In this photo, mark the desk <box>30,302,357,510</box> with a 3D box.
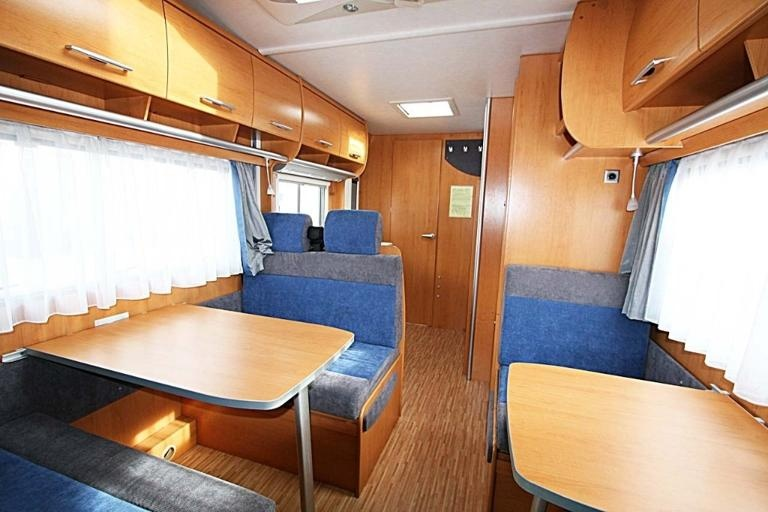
[{"bbox_3d":[-0.986,0.564,3.069,2.089,0.913,1.208,9,17,24],"label":"desk"}]

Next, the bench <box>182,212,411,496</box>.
[{"bbox_3d":[-0.688,0.573,3.961,1.754,1.545,1.297,8,21,26],"label":"bench"}]
